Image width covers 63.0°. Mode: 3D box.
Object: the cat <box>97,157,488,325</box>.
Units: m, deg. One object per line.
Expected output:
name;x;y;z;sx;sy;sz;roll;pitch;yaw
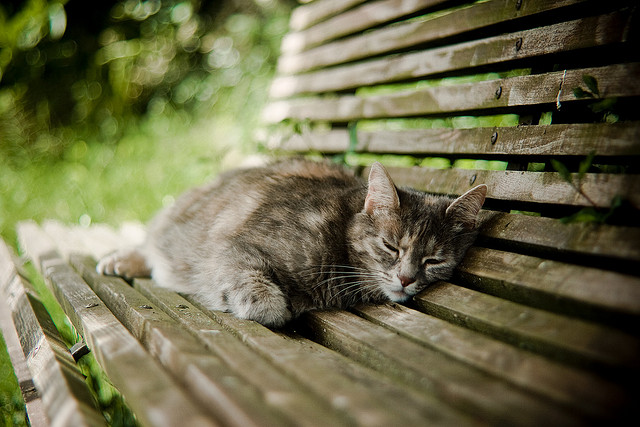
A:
cat;-0.150;0.134;3.301;1.754;0.723;1.247;8;3;29
